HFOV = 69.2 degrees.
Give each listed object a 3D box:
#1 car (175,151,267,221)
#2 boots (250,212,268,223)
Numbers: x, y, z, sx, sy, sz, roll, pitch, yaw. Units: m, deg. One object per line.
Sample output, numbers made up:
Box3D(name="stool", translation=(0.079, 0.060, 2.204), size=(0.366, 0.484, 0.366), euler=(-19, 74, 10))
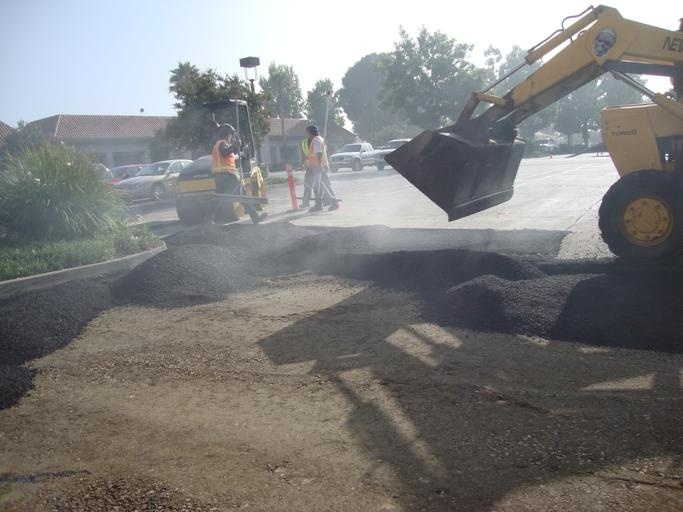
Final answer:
Box3D(name="car", translation=(-3.125, -1.857, 12.801), size=(1.507, 1.471, 2.375), euler=(2, 12, 19))
Box3D(name="boots", translation=(-2.072, -0.910, 12.193), size=(0.361, 0.185, 0.363), euler=(-29, 36, -29))
